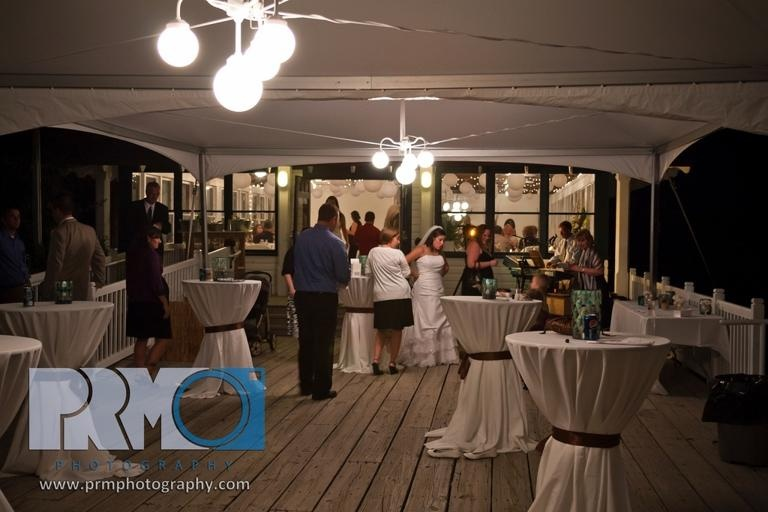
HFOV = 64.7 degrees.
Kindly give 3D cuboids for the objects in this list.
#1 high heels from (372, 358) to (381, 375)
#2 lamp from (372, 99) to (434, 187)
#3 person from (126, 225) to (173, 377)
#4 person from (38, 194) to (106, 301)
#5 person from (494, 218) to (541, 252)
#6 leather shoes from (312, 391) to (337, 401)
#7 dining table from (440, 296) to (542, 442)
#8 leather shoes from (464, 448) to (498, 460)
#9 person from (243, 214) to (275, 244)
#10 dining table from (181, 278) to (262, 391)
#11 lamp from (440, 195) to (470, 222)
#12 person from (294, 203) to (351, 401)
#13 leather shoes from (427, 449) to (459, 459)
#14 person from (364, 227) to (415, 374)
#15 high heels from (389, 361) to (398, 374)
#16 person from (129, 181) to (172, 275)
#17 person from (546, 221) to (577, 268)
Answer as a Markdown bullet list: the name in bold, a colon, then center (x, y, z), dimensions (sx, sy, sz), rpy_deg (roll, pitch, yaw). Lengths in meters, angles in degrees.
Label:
- **high heels**: center (-0.095, 1.565, 8.494), dimensions (0.128, 0.215, 0.143), rpy_deg (1, 7, 1)
- **lamp**: center (0.317, -1.562, 8.799), dimensions (0.895, 1.207, 0.861), rpy_deg (-1, 4, -33)
- **person**: center (-3.039, 0.595, 7.816), dimensions (0.595, 1.942, 0.359), rpy_deg (0, 7, -7)
- **person**: center (-3.691, -0.053, 7.142), dimensions (0.602, 1.345, 1.175), rpy_deg (-2, 7, -20)
- **person**: center (3.119, -0.454, 14.466), dimensions (0.751, 0.589, 0.863), rpy_deg (0, 0, 15)
- **leather shoes**: center (-0.721, 1.679, 7.437), dimensions (0.305, 0.159, 0.111), rpy_deg (-3, 3, -19)
- **dining table**: center (1.120, 1.006, 6.123), dimensions (1.047, 1.329, 1.114), rpy_deg (-9, 9, 0)
- **leather shoes**: center (0.924, 1.866, 5.785), dimensions (0.304, 0.149, 0.114), rpy_deg (2, -8, 0)
- **person**: center (-3.087, -0.582, 15.388), dimensions (0.877, 1.035, 0.530), rpy_deg (1, 0, 3)
- **dining table**: center (-2.137, 0.985, 7.683), dimensions (0.884, 1.203, 0.918), rpy_deg (-5, -6, 26)
- **lamp**: center (1.757, -1.174, 14.782), dimensions (0.659, 0.635, 0.134), rpy_deg (0, 7, -9)
- **person**: center (-0.769, 0.563, 7.391), dimensions (0.662, 2.357, 0.407), rpy_deg (-1, 7, -11)
- **leather shoes**: center (0.560, 1.890, 5.762), dimensions (0.274, 0.105, 0.113), rpy_deg (4, -5, 8)
- **person**: center (0.091, 0.662, 8.751), dimensions (0.661, 2.069, 0.829), rpy_deg (0, 7, -3)
- **high heels**: center (0.130, 1.610, 8.714), dimensions (0.102, 0.136, 0.312), rpy_deg (-1, -9, 5)
- **person**: center (-3.906, -0.183, 10.073), dimensions (0.608, 2.094, 0.609), rpy_deg (1, 6, -33)
- **person**: center (3.923, -0.205, 13.210), dimensions (0.632, 1.029, 0.581), rpy_deg (0, 0, -37)
